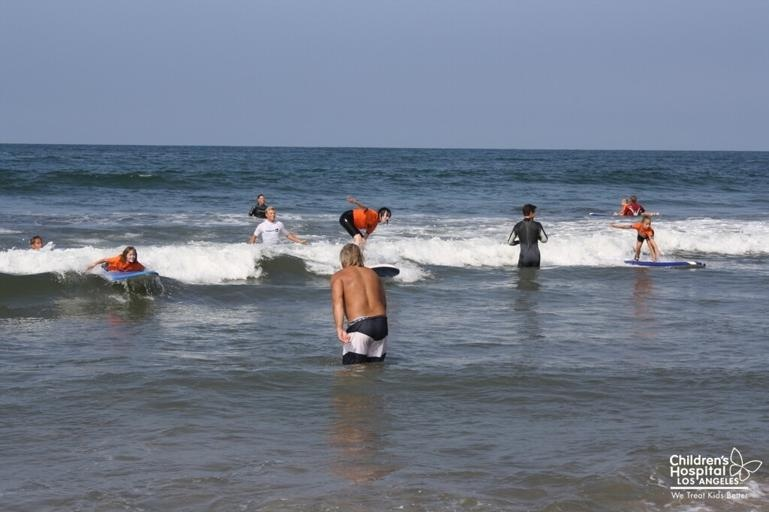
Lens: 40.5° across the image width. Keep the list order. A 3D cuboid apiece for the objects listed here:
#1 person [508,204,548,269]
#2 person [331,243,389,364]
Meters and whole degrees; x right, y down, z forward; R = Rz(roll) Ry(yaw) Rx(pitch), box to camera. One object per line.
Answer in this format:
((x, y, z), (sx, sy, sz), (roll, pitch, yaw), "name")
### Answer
((3.241, -0.463, 23.396), (0.818, 1.577, 1.376), (3, 13, 7), "person")
((-0.342, 0.801, 15.710), (0.854, 1.760, 0.668), (-1, 14, -7), "person")
